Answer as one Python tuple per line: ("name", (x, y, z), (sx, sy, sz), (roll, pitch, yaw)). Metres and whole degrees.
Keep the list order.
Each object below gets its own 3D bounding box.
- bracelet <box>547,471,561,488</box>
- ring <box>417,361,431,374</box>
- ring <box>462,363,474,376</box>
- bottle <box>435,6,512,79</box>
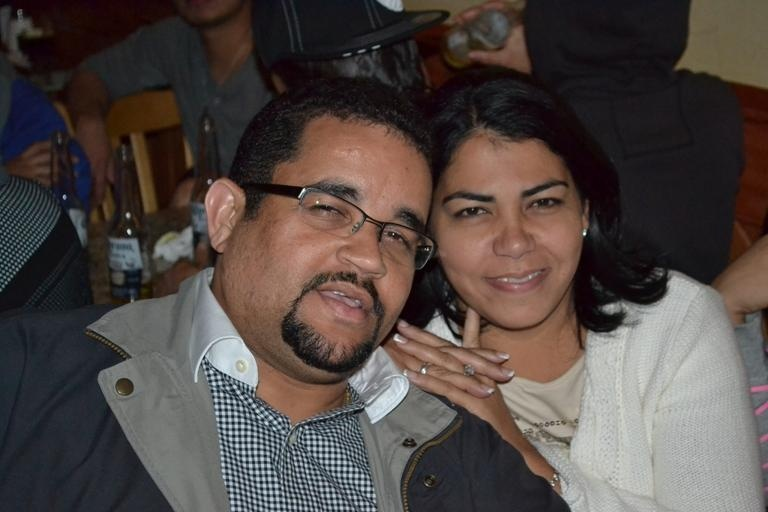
("bracelet", (0.623, 0.807, 2.353), (0.041, 0.050, 0.018), (-8, -7, -1))
("ring", (0.150, 0.424, 2.470), (0.026, 0.016, 0.039), (3, 58, 16))
("ring", (0.334, 0.437, 2.494), (0.030, 0.011, 0.040), (-10, 47, -7))
("bottle", (0.474, -1.116, 3.363), (0.378, 0.232, 0.178), (-27, 24, 7))
